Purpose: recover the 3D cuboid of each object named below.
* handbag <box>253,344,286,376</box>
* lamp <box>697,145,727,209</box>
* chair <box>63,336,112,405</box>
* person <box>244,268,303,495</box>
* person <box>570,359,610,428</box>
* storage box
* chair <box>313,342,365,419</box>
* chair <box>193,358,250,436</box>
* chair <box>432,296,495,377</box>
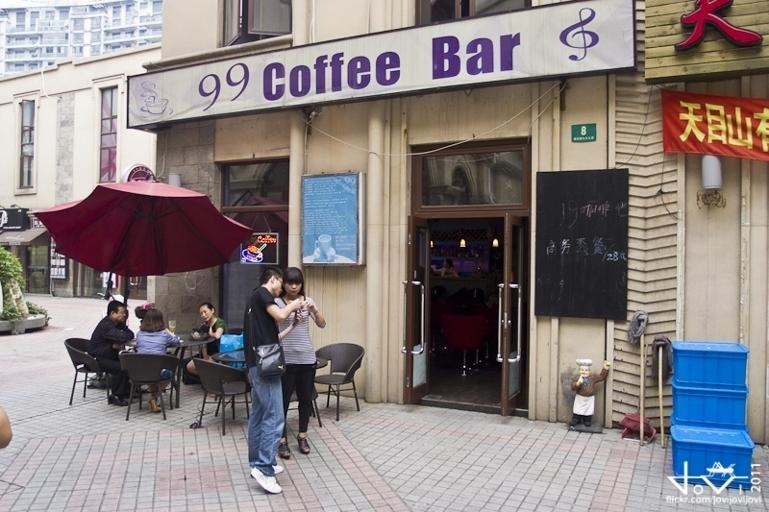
[{"bbox_3d":[-1.498,1.351,9.445,0.378,0.401,0.171,-8,-15,-18],"label":"handbag"},{"bbox_3d":[4.842,-1.094,10.676,0.364,0.782,0.217,-1,9,-7],"label":"lamp"},{"bbox_3d":[-4.967,1.952,12.249,0.686,0.972,0.781,1,1,-1],"label":"chair"},{"bbox_3d":[-1.448,1.538,9.737,0.900,2.786,1.073,-1,-2,-11],"label":"person"},{"bbox_3d":[3.090,2.084,10.996,0.581,1.077,0.322,-6,11,-35],"label":"person"},{"bbox_3d":[4.373,2.151,9.737,1.008,1.634,1.708,-1,-3,20],"label":"storage box"},{"bbox_3d":[-0.792,1.971,11.567,0.844,1.039,0.770,0,1,21],"label":"chair"},{"bbox_3d":[-2.583,2.008,11.285,0.888,1.164,1.243,-2,10,-13],"label":"chair"},{"bbox_3d":[1.485,1.603,14.601,1.105,1.379,1.215,1,3,13],"label":"chair"}]
